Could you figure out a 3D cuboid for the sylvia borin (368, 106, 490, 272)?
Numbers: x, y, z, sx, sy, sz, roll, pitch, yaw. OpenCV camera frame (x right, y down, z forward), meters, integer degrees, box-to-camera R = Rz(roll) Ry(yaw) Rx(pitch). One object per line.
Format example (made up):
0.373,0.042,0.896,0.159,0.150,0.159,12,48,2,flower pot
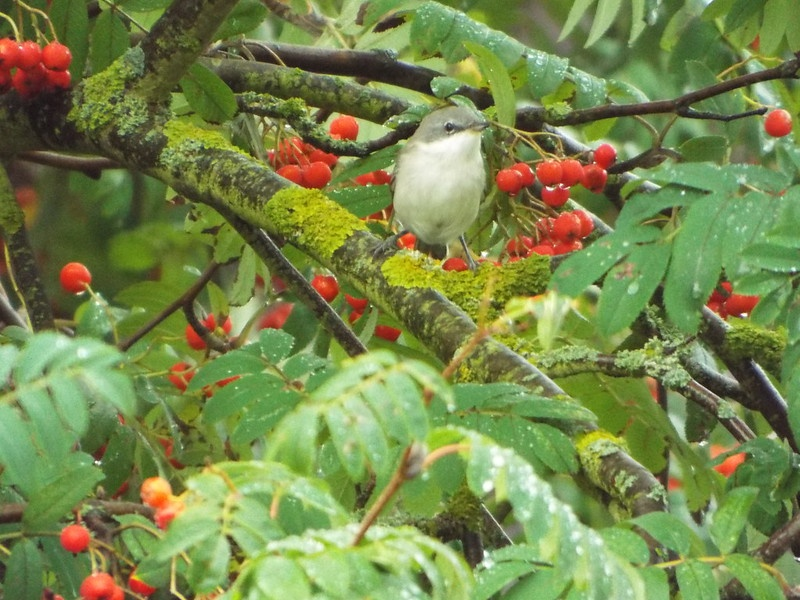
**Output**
0.168,-0.515,4.508,0.470,0.680,0.815,3,17,-11,sylvia borin
